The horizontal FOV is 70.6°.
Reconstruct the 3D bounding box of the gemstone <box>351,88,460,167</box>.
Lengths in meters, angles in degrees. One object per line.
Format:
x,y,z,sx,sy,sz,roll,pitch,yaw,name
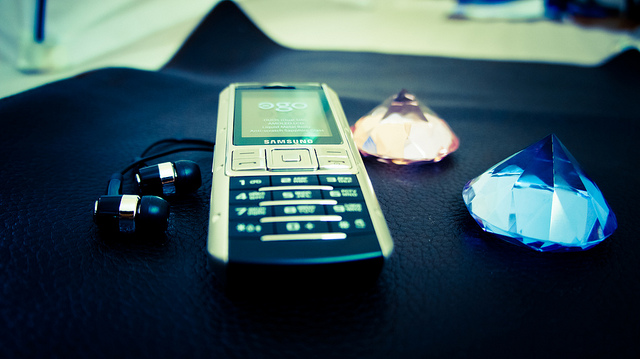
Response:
0.124,-0.080,0.732,0.184,0.098,0.130,-10,29,-19,gemstone
